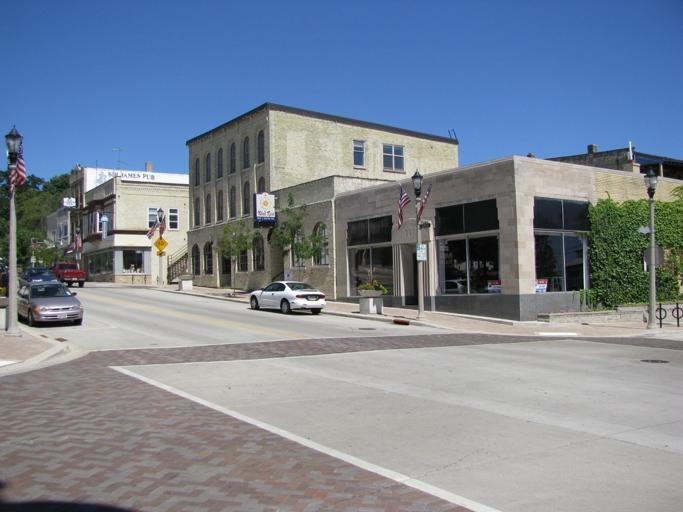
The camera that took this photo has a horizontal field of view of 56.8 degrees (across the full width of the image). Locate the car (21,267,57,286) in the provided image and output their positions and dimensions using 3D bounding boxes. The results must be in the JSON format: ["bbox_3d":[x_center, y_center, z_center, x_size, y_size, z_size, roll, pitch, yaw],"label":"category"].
[{"bbox_3d":[-16.910,1.209,35.221,0.930,0.717,2.023,2,-6,-32],"label":"car"}]

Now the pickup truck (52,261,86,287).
[{"bbox_3d":[-21.537,1.498,50.007,1.564,1.496,3.168,2,2,-30],"label":"pickup truck"}]

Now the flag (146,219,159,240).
[{"bbox_3d":[-17.299,-2.385,57.630,0.443,0.866,2.621,-19,-6,-24],"label":"flag"}]
